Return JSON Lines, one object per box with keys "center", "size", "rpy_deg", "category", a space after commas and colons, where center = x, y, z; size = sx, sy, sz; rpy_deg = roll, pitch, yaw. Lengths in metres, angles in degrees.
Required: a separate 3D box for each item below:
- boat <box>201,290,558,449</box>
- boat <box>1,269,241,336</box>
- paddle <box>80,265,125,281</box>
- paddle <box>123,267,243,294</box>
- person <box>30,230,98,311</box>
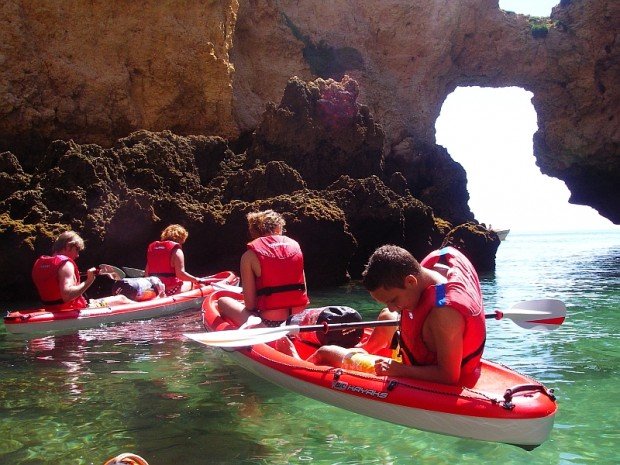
{"center": [0.632, 1.450, 6.348], "size": [3.823, 0.688, 1.289], "rpy_deg": [10, 15, 41], "category": "boat"}
{"center": [-3.444, 1.303, 9.821], "size": [1.094, 0.461, 3.654], "rpy_deg": [4, 5, 39], "category": "boat"}
{"center": [-3.942, 0.745, 10.198], "size": [0.948, 0.433, 0.156], "rpy_deg": [1, 44, 32], "category": "paddle"}
{"center": [-2.736, 1.009, 11.168], "size": [1.574, 0.271, 0.476], "rpy_deg": [13, -3, 7], "category": "paddle"}
{"center": [-4.774, 0.702, 10.218], "size": [1.131, 1.566, 0.923], "rpy_deg": [32, 34, 27], "category": "person"}
